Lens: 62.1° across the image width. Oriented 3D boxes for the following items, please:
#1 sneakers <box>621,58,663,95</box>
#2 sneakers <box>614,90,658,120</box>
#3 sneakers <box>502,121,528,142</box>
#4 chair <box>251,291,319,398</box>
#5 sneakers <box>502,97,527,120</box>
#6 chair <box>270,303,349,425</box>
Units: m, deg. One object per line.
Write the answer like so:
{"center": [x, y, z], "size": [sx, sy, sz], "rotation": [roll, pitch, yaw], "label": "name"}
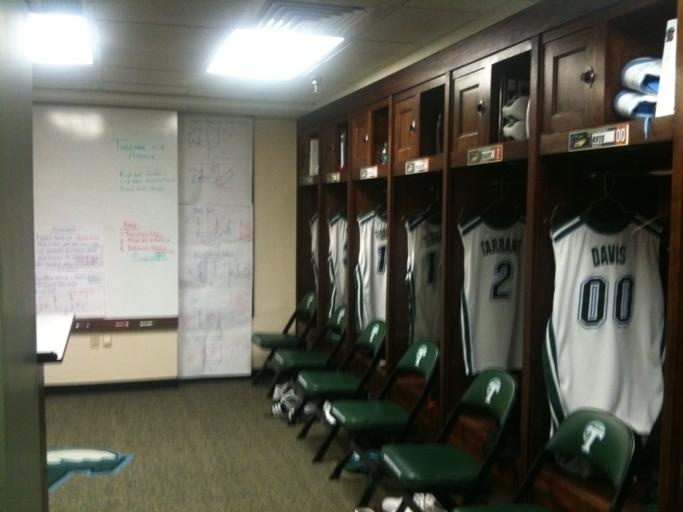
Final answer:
{"center": [1.176, -0.714, 2.213], "size": [0.114, 0.179, 0.192], "rotation": [1, 3, 13], "label": "sneakers"}
{"center": [1.149, -0.589, 2.230], "size": [0.139, 0.054, 0.137], "rotation": [2, 28, -44], "label": "sneakers"}
{"center": [0.868, -0.629, 2.853], "size": [0.127, 0.083, 0.133], "rotation": [2, 7, -12], "label": "sneakers"}
{"center": [-0.556, 0.841, 5.819], "size": [0.647, 0.948, 0.510], "rotation": [1, 2, -30], "label": "chair"}
{"center": [0.862, -0.753, 2.864], "size": [0.060, 0.107, 0.128], "rotation": [0, 0, -37], "label": "sneakers"}
{"center": [-0.262, 0.884, 4.923], "size": [0.667, 0.922, 0.583], "rotation": [-1, 5, -39], "label": "chair"}
